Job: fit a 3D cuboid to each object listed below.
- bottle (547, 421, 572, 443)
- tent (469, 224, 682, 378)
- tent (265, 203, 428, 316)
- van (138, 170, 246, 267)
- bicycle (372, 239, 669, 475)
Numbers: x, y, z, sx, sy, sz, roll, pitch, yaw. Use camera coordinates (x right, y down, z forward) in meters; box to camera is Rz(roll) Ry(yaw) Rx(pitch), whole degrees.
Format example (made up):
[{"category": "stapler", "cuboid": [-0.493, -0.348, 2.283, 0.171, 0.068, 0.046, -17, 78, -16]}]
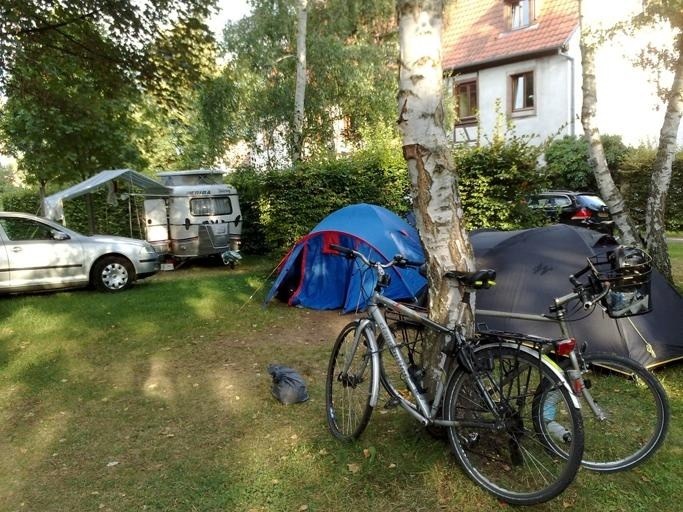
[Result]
[{"category": "bottle", "cuboid": [1.743, 1.406, 3.967, 0.112, 0.056, 0.167, 1, 15, -18]}, {"category": "tent", "cuboid": [2.953, 0.479, 6.389, 2.107, 0.890, 2.076, -11, 12, -42]}, {"category": "tent", "cuboid": [0.364, -0.019, 9.815, 2.728, 1.476, 2.302, 0, 6, 42]}, {"category": "van", "cuboid": [-4.666, -1.296, 15.824, 2.974, 2.616, 2.485, -9, 14, -31]}, {"category": "bicycle", "cuboid": [1.931, 0.912, 4.250, 1.486, 1.903, 1.038, -5, 14, -9]}]
